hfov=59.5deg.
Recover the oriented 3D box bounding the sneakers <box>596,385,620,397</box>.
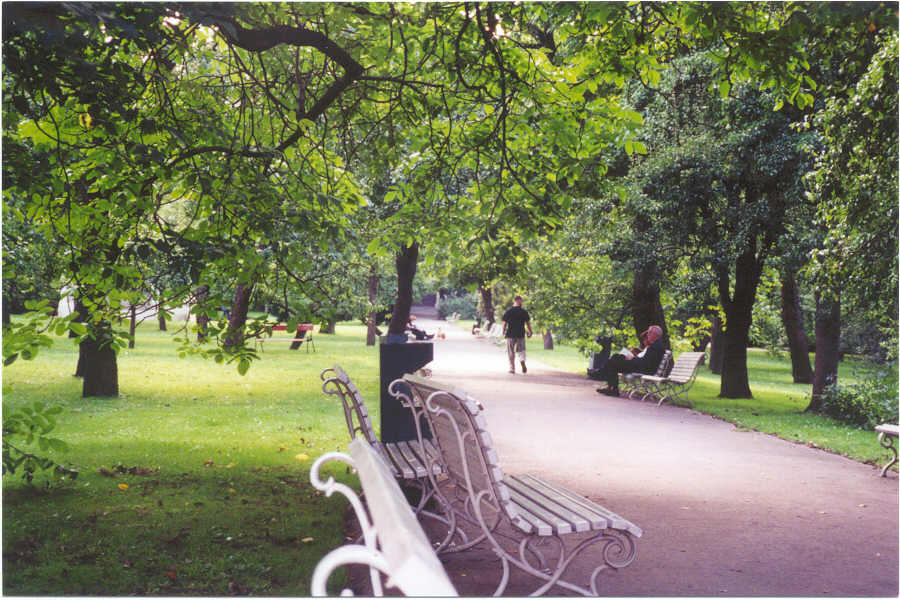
[{"bbox_3d":[3.809,2.221,19.007,0.598,0.256,0.209,5,-1,29],"label":"sneakers"}]

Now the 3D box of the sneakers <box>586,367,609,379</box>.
[{"bbox_3d":[3.877,1.987,20.732,0.211,0.268,0.674,0,-14,-15],"label":"sneakers"}]

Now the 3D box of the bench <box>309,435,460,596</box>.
[{"bbox_3d":[-0.589,2.095,7.559,0.806,0.537,1.938,11,5,-19],"label":"bench"}]
